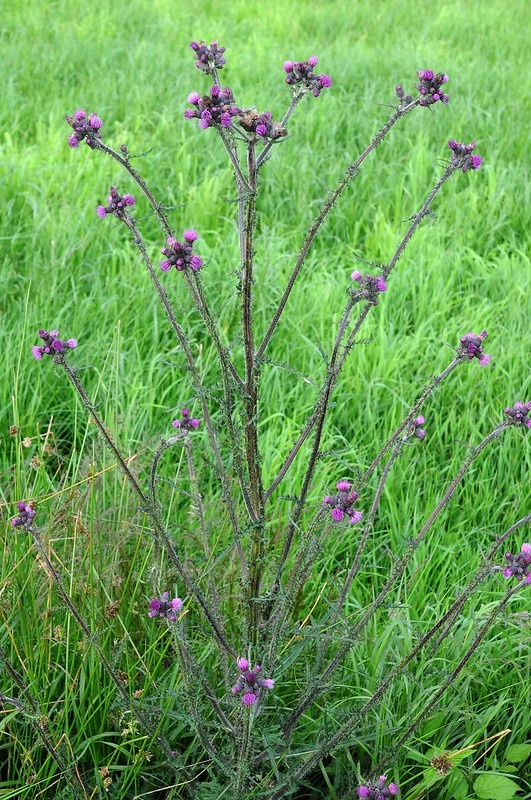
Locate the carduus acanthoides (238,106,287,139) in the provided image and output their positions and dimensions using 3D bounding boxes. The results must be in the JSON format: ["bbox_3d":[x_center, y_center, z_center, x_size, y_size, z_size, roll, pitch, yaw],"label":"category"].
[{"bbox_3d":[-0.010,-0.721,2.589,0.107,0.066,0.077,-7,42,-42],"label":"carduus acanthoides"}]

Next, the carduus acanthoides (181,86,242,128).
[{"bbox_3d":[-0.139,-0.770,2.635,0.116,0.142,0.093,5,-2,6],"label":"carduus acanthoides"}]
